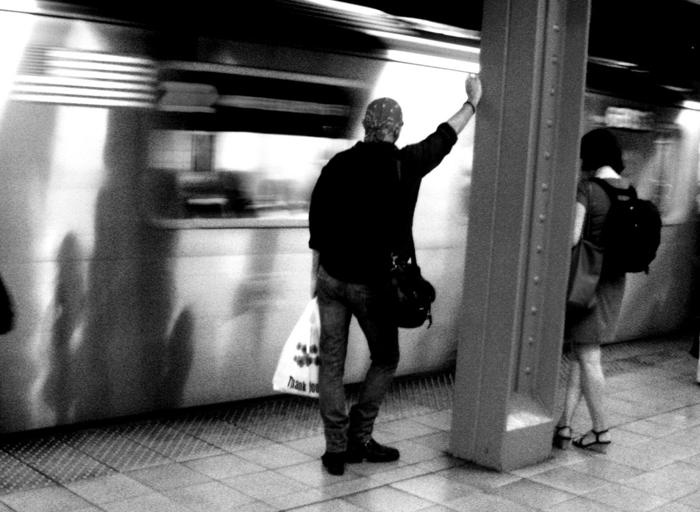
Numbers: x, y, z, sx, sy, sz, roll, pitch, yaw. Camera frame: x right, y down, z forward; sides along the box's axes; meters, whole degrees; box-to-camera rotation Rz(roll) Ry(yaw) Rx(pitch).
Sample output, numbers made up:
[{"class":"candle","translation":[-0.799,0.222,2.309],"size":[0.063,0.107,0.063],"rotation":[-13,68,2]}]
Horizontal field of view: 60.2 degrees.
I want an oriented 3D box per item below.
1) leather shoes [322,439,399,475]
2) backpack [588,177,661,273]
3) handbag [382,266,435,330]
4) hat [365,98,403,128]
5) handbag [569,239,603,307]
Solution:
[{"class":"leather shoes","translation":[0.093,1.371,4.208],"size":[0.558,0.186,0.188],"rotation":[-7,12,-24]},{"class":"backpack","translation":[2.062,-0.217,4.553],"size":[0.528,0.708,0.261],"rotation":[0,8,-20]},{"class":"handbag","translation":[0.409,0.275,4.156],"size":[0.415,0.547,0.460],"rotation":[-2,-1,16]},{"class":"hat","translation":[0.210,-0.933,3.942],"size":[0.196,0.222,0.242],"rotation":[5,22,14]},{"class":"handbag","translation":[1.694,0.133,4.368],"size":[0.222,0.482,0.138],"rotation":[5,8,10]}]
